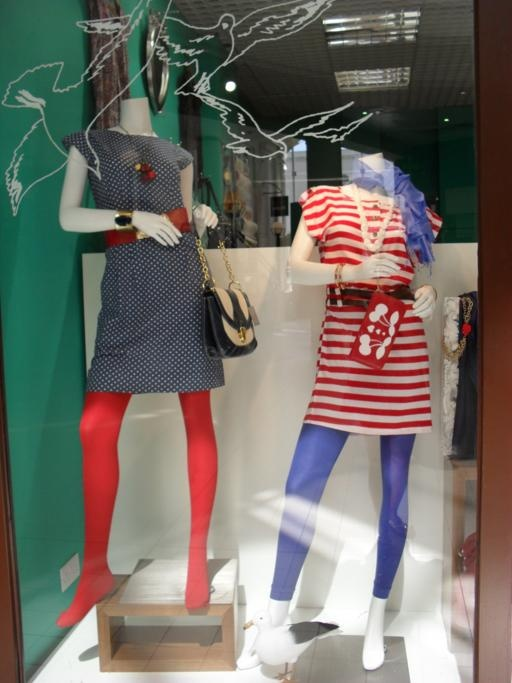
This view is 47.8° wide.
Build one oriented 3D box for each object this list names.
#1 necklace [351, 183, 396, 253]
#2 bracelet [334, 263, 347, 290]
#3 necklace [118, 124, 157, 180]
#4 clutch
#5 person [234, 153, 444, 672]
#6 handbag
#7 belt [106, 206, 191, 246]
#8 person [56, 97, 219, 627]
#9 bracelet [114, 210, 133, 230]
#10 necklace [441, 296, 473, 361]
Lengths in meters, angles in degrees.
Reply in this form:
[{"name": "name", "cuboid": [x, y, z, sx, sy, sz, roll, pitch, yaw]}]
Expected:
[{"name": "necklace", "cuboid": [0.248, -0.257, 1.230, 0.087, 0.131, 0.036, 2, 19, 10]}, {"name": "bracelet", "cuboid": [0.179, -0.144, 1.236, 0.014, 0.039, 0.029, 5, -10, 0]}, {"name": "necklace", "cuboid": [-0.245, -0.411, 1.262, 0.039, 0.126, 0.029, -46, 7, -38]}, {"name": "clutch", "cuboid": [0.265, -0.022, 1.249, 0.112, 0.169, 0.050, 3, 19, 12]}, {"name": "person", "cuboid": [0.187, 0.179, 1.257, 0.377, 1.110, 0.331, 3, 20, 13]}, {"name": "handbag", "cuboid": [-0.068, -0.047, 1.249, 0.091, 0.215, 0.171, -7, -4, 37]}, {"name": "belt", "cuboid": [-0.235, -0.247, 1.275, 0.127, 0.037, 0.098, -16, 6, 27]}, {"name": "person", "cuboid": [-0.283, 0.070, 1.321, 0.426, 1.175, 0.253, -4, 19, -7]}, {"name": "bracelet", "cuboid": [-0.284, -0.262, 1.248, 0.035, 0.037, 0.041, 3, -21, -7]}, {"name": "necklace", "cuboid": [0.433, -0.032, 1.236, 0.062, 0.141, 0.039, 4, 20, 15]}]
